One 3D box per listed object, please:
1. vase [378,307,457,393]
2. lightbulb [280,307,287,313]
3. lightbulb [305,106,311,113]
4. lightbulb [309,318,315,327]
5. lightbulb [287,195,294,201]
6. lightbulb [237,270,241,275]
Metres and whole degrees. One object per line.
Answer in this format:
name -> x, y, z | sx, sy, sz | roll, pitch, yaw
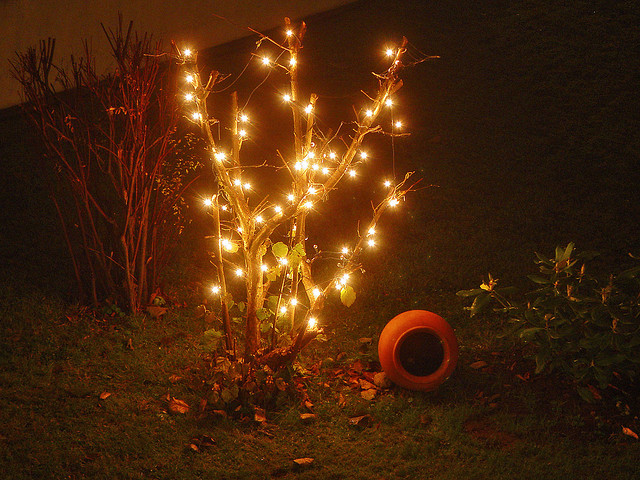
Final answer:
vase -> 0.927, 1.143, 5.409 | 0.790, 0.670, 0.807 | -2, -1, -32
lightbulb -> -0.355, 0.697, 5.516 | 0.056, 0.050, 0.022 | 9, -10, -43
lightbulb -> -0.111, -1.223, 5.251 | 0.045, 0.053, 0.056 | 2, -8, 3
lightbulb -> -0.076, 0.780, 5.246 | 0.044, 0.066, 0.018 | -1, 8, -27
lightbulb -> -0.258, -0.373, 5.003 | 0.085, 0.056, 0.034 | -5, -10, 41
lightbulb -> -0.757, 0.306, 5.251 | 0.031, 0.038, 0.053 | 4, -8, -10
